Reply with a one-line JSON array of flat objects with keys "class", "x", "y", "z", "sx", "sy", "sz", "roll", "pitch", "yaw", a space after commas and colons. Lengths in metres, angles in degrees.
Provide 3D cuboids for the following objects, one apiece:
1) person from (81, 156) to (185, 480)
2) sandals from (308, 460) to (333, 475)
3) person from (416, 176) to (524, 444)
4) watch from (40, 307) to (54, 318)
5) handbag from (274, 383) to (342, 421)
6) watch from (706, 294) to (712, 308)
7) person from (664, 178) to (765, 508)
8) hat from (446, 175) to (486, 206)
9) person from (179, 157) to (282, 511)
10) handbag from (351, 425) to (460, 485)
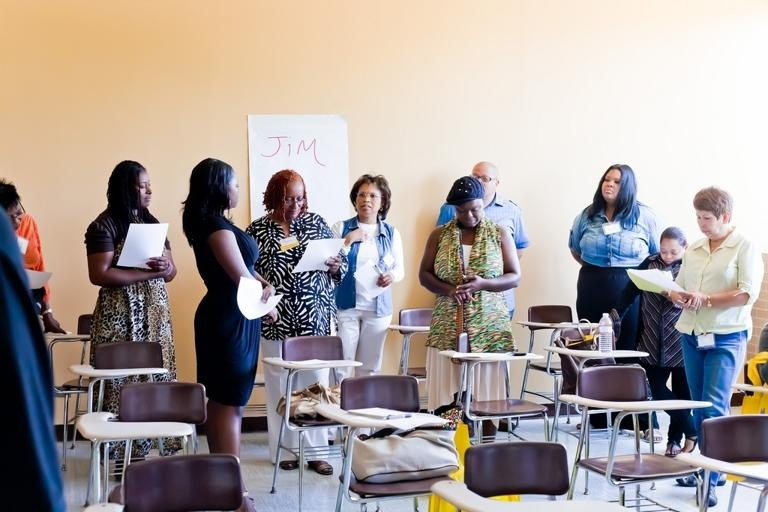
[{"class": "person", "x": -1.818, "y": 0.475, "z": 4.641, "sx": 0.631, "sy": 2.339, "sz": 0.672, "roll": -5, "pitch": -9, "yaw": 38}, {"class": "sandals", "x": -0.495, "y": 1.639, "z": 4.908, "sx": 0.102, "sy": 0.070, "sz": 0.234, "roll": 2, "pitch": -4, "yaw": -32}, {"class": "person", "x": 0.621, "y": 0.293, "z": 4.596, "sx": 0.725, "sy": 1.689, "sz": 0.461, "roll": -1, "pitch": -7, "yaw": 5}, {"class": "watch", "x": -2.844, "y": 0.469, "z": 5.318, "sx": 0.080, "sy": 0.108, "sz": 0.064, "roll": 11, "pitch": -36, "yaw": -15}, {"class": "handbag", "x": -0.495, "y": 0.998, "z": 4.362, "sx": 0.345, "sy": 0.145, "sz": 0.338, "roll": 0, "pitch": 1, "yaw": -30}, {"class": "watch", "x": 2.216, "y": 0.312, "z": 4.292, "sx": 0.032, "sy": 0.066, "sz": 0.023, "roll": -3, "pitch": -7, "yaw": 19}, {"class": "person", "x": 2.315, "y": 0.334, "z": 4.375, "sx": 0.570, "sy": 1.595, "sz": 0.432, "roll": -4, "pitch": -8, "yaw": 29}, {"class": "hat", "x": 0.571, "y": -0.463, "z": 4.492, "sx": 0.186, "sy": 0.130, "sz": 0.252, "roll": -1, "pitch": 1, "yaw": 38}, {"class": "person", "x": -0.933, "y": 0.461, "z": 3.762, "sx": 0.502, "sy": 2.061, "sz": 0.509, "roll": 6, "pitch": -9, "yaw": -43}, {"class": "handbag", "x": 0.110, "y": 1.050, "z": 3.383, "sx": 0.376, "sy": 0.146, "sz": 0.286, "roll": -2, "pitch": -2, "yaw": -10}]
